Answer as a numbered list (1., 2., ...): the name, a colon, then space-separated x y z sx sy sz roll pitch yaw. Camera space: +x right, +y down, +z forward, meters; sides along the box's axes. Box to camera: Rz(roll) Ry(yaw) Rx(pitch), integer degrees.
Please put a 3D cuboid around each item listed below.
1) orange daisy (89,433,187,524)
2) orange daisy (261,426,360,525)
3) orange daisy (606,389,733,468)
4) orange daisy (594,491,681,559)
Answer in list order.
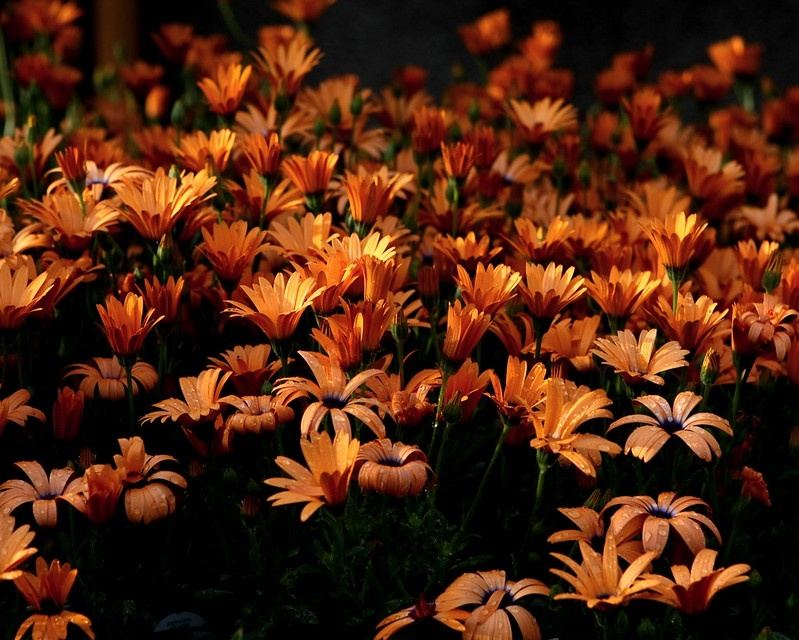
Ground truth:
1. orange daisy: -0.315 0.171 0.959 0.109 0.088 0.140 -2 19 -23
2. orange daisy: -0.099 0.176 0.873 0.093 0.103 0.098 9 17 14
3. orange daisy: 0.328 0.125 0.967 0.163 0.040 0.148 -14 17 -39
4. orange daisy: 0.302 0.230 0.950 0.106 0.043 0.132 -2 6 -7
